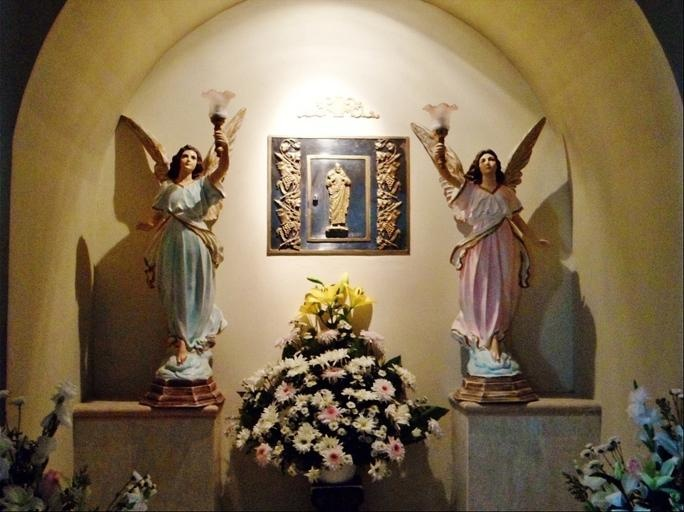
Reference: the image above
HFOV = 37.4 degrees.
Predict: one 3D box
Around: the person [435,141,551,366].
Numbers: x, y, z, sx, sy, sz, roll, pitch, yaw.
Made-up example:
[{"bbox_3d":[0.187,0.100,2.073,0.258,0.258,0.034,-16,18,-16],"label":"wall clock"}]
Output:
[{"bbox_3d":[0.893,0.001,6.548,0.775,1.348,0.402,7,-14,-23],"label":"person"}]
